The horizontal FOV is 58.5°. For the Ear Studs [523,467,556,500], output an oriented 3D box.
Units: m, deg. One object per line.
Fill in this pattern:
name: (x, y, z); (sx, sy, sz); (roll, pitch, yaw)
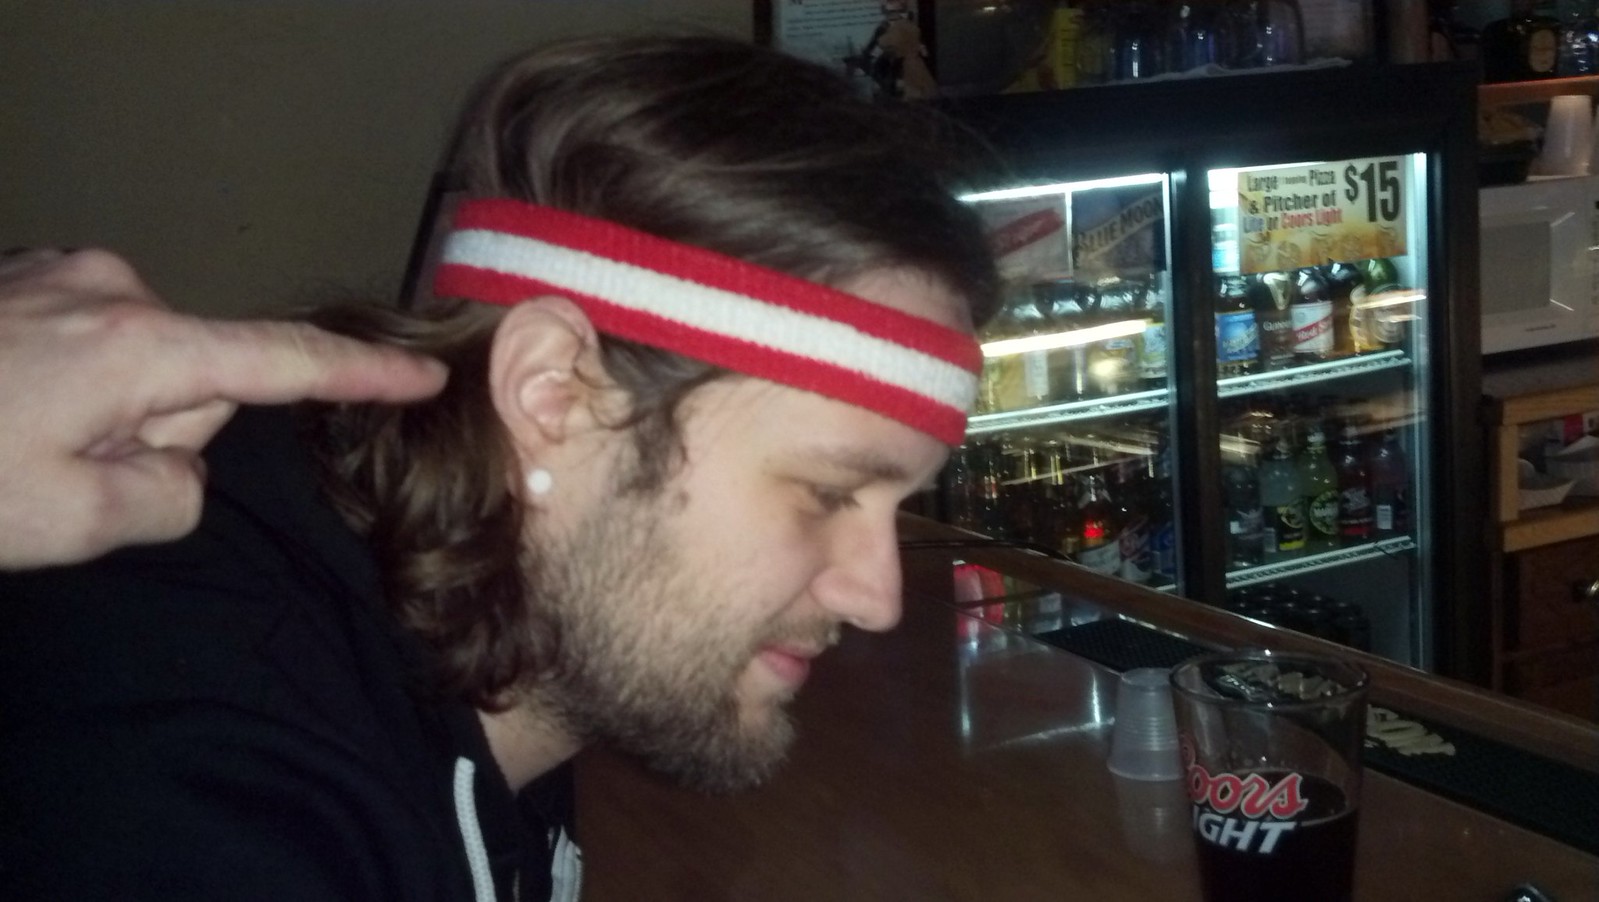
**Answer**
Ear Studs: (-0.483, 0.055, 2.537); (0.051, 0.049, 0.013); (9, 9, 14)

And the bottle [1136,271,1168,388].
bottle: (1.100, -0.379, 4.388); (0.061, 0.344, 0.146); (-11, 7, -20)

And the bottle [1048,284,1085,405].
bottle: (0.828, -0.334, 4.419); (0.125, 0.345, 0.041); (-10, 7, -11)

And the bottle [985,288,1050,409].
bottle: (0.624, -0.307, 4.147); (0.190, 0.307, 0.342); (-2, 6, -3)

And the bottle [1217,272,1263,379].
bottle: (1.386, -0.398, 4.488); (0.171, 0.304, 0.045); (-11, 7, -22)

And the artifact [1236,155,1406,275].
artifact: (1.634, -0.740, 4.427); (0.564, 0.312, 0.126); (-10, 7, -14)
